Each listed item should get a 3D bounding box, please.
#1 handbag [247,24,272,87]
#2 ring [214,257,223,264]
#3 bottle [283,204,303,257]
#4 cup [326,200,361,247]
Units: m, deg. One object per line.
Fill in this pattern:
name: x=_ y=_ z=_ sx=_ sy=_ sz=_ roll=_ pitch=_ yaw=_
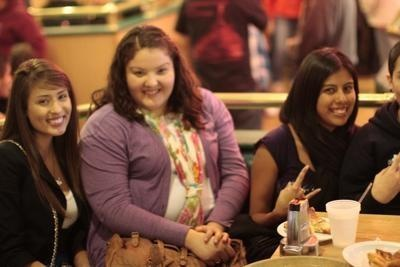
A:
handbag: x=0.851 y=-1.085 z=5.094 sx=0.220 sy=0.751 sz=0.440 roll=-4 pitch=-3 yaw=33
ring: x=0.118 y=0.800 z=2.258 sx=0.040 sy=0.034 sz=0.039 roll=1 pitch=2 yaw=0
bottle: x=0.450 y=0.458 z=1.715 sx=0.090 sy=0.249 sz=0.063 roll=2 pitch=13 yaw=15
cup: x=0.762 y=0.460 z=1.888 sx=0.135 sy=0.223 sz=0.203 roll=9 pitch=16 yaw=39
